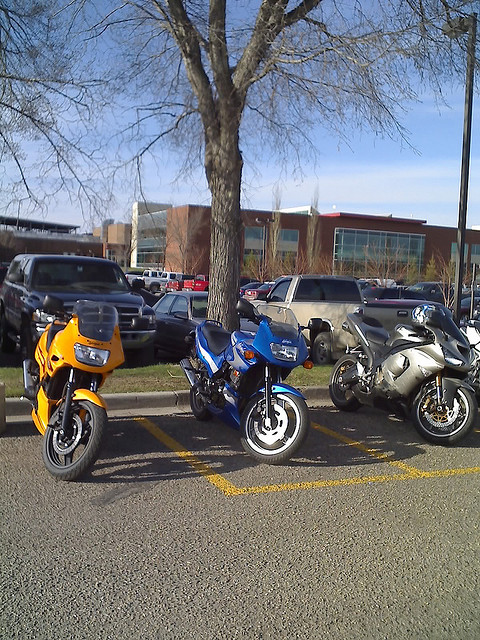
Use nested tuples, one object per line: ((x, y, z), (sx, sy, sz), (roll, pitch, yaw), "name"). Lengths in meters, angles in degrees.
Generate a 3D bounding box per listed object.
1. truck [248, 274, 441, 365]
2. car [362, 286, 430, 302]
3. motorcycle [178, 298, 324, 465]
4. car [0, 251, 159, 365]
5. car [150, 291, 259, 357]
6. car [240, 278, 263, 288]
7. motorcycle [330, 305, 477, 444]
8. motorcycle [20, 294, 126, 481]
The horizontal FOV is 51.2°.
((2.431, 0.232, 10.986), (2.180, 1.562, 3.527), (-2, 8, -26), "truck")
((6.599, -1.086, 21.030), (2.477, 0.988, 1.168), (-3, 8, -17), "car")
((-0.009, 0.524, 5.215), (0.830, 1.382, 2.311), (9, -1, -27), "motorcycle")
((-3.361, -0.475, 9.878), (1.920, 1.588, 3.342), (1, 2, -27), "car")
((-1.215, 0.060, 10.613), (1.233, 1.013, 2.108), (1, 2, -34), "car")
((0.698, -3.203, 44.174), (2.278, 0.822, 1.043), (-9, 14, -36), "car")
((1.911, 0.574, 5.804), (0.560, 1.033, 1.868), (2, 0, -22), "motorcycle")
((-1.602, 0.478, 4.517), (0.659, 1.420, 2.078), (12, 0, -32), "motorcycle")
